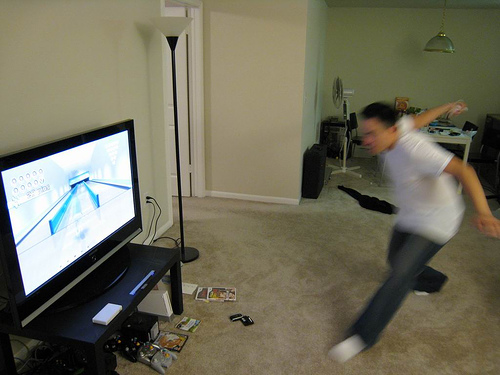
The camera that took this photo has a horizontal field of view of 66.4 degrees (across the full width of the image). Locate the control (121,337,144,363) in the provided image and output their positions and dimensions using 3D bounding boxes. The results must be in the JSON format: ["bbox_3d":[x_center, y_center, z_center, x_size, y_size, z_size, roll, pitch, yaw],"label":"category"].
[{"bbox_3d":[-0.870,1.170,2.776,0.144,0.103,0.113,9,38,26],"label":"control"}]

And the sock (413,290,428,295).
[{"bbox_3d":[1.570,0.966,3.507,0.070,0.020,0.045,5,19,14],"label":"sock"}]

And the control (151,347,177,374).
[{"bbox_3d":[-0.626,1.245,2.760,0.136,0.071,0.170,13,27,26],"label":"control"}]

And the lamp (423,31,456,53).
[{"bbox_3d":[3.244,-2.454,6.460,0.406,0.341,0.437,19,30,37],"label":"lamp"}]

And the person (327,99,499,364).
[{"bbox_3d":[1.167,0.340,2.736,0.911,1.762,0.765,4,24,10],"label":"person"}]

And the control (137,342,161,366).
[{"bbox_3d":[-0.748,1.200,2.784,0.101,0.054,0.137,12,24,16],"label":"control"}]

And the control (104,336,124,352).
[{"bbox_3d":[-0.995,1.136,2.764,0.073,0.033,0.107,14,22,29],"label":"control"}]

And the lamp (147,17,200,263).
[{"bbox_3d":[-0.679,-0.677,3.503,0.305,1.539,0.291,-5,5,-42],"label":"lamp"}]
